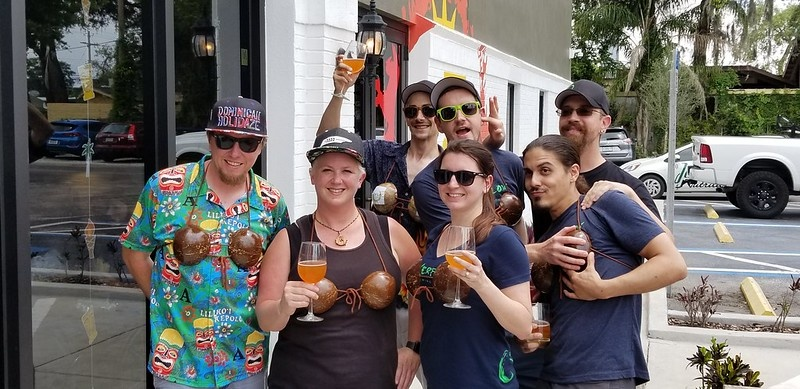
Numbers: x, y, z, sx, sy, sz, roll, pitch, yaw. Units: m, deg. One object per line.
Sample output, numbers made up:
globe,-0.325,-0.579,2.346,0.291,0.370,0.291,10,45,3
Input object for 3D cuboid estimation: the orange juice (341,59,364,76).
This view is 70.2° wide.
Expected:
orange juice,-0.565,-1.569,6.968,0.199,0.146,0.200,2,6,23

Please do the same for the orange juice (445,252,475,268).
orange juice,0.546,0.597,5.383,0.175,0.104,0.177,1,0,29

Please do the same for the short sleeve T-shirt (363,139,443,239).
short sleeve T-shirt,-0.049,-0.100,6.696,0.271,1.016,1.112,2,1,-36

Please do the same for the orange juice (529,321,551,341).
orange juice,1.406,1.350,5.674,0.190,0.192,0.186,2,1,31

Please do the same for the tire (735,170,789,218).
tire,10.199,0.017,16.171,1.624,1.547,0.487,-1,-3,8

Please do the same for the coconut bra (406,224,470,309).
coconut bra,0.398,0.710,5.437,0.741,0.710,0.320,3,5,31

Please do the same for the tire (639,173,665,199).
tire,6.637,-0.303,14.963,0.842,0.813,0.303,2,0,27

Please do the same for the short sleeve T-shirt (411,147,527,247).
short sleeve T-shirt,0.748,0.037,5.870,0.948,0.866,0.504,-13,13,-2

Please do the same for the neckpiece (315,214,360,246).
neckpiece,-0.631,0.361,5.717,0.323,0.254,0.031,-3,-14,-13

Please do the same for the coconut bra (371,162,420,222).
coconut bra,0.070,-0.077,6.694,0.846,0.621,0.389,-8,-13,42

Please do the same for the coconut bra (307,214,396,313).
coconut bra,-0.572,0.624,6.121,0.947,0.470,1.414,0,42,-10

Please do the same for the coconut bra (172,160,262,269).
coconut bra,-1.835,0.247,5.770,0.845,0.962,0.357,1,7,-16
